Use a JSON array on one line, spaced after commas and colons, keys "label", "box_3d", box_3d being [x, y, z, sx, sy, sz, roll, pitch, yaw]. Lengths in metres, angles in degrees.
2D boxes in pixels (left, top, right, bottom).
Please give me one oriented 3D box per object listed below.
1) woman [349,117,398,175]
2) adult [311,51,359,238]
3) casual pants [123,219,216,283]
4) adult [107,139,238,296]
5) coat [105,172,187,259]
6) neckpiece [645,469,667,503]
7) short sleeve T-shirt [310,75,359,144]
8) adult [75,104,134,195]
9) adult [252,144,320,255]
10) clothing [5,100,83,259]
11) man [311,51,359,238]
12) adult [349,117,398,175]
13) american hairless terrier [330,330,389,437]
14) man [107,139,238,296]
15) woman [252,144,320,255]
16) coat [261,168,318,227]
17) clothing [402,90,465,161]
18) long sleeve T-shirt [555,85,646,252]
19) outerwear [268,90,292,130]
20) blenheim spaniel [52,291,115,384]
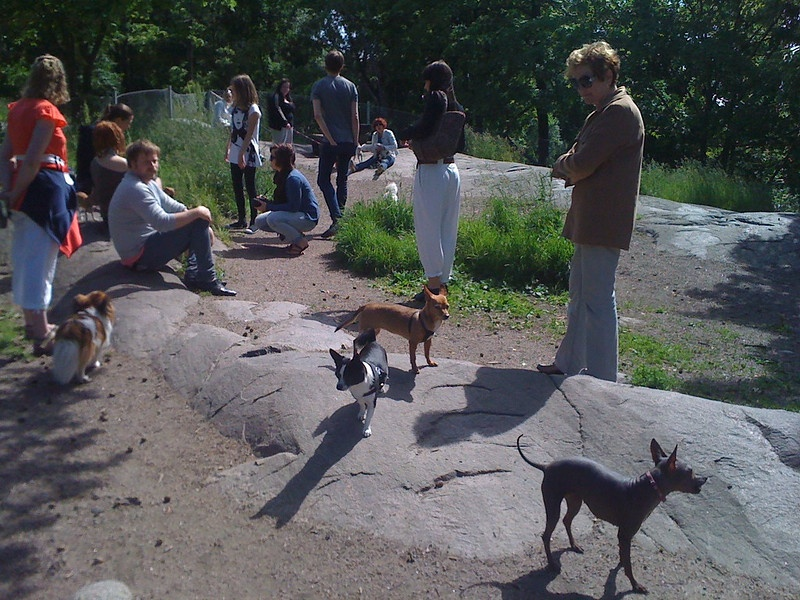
[{"label": "woman", "box_3d": [-0.588, -3.477, 15.710, 0.789, 1.244, 1.487, 3, 17, 20]}, {"label": "adult", "box_3d": [-1.012, -2.405, 10.794, 0.636, 2.690, 0.765, 1, 14, -4]}, {"label": "casual pants", "box_3d": [-2.656, -0.586, 8.323, 0.711, 0.565, 0.627, -1, 11, -26]}, {"label": "adult", "box_3d": [-2.707, -0.967, 8.329, 1.303, 1.791, 1.092, -1, 9, -18]}, {"label": "coat", "box_3d": [-2.881, -0.895, 7.887, 0.777, 1.037, 0.349, 6, 11, 16]}, {"label": "neckpiece", "box_3d": [1.764, 1.294, 4.826, 0.040, 0.177, 0.159, -32, 7, 12]}, {"label": "short sleeve T-shirt", "box_3d": [-0.985, -2.840, 10.482, 0.645, 0.997, 0.299, 1, 10, -10]}, {"label": "adult", "box_3d": [-3.951, -1.915, 9.383, 0.573, 1.422, 0.546, 15, 8, -3]}, {"label": "adult", "box_3d": [-1.700, -1.510, 10.595, 0.923, 1.612, 0.684, 2, 10, -5]}, {"label": "clothing", "box_3d": [-3.476, -1.173, 6.889, 0.612, 1.534, 0.521, -4, 12, -31]}, {"label": "man", "box_3d": [-1.021, -2.417, 10.815, 0.644, 2.706, 0.718, 1, 15, -6]}, {"label": "adult", "box_3d": [-0.563, -3.478, 15.692, 0.743, 1.215, 1.481, 1, 17, 19]}, {"label": "american hairless terrier", "box_3d": [-0.335, 0.707, 5.912, 0.408, 0.746, 0.775, 4, 10, 7]}, {"label": "man", "box_3d": [-2.677, -0.968, 8.318, 1.332, 1.783, 1.139, 0, 8, -11]}, {"label": "woman", "box_3d": [-1.700, -1.510, 10.599, 0.921, 1.612, 0.695, 2, 10, -3]}, {"label": "coat", "box_3d": [-1.694, -1.579, 10.787, 0.868, 0.956, 0.782, -5, 7, -37]}, {"label": "clothing", "box_3d": [0.402, -1.980, 7.961, 0.710, 0.828, 0.596, -1, 29, 8]}, {"label": "long sleeve T-shirt", "box_3d": [1.815, -0.863, 6.494, 0.615, 2.134, 0.748, 4, 2, -5]}, {"label": "outerwear", "box_3d": [-2.306, -3.648, 13.612, 0.434, 0.714, 0.726, 0, 11, -13]}, {"label": "blenheim spaniel", "box_3d": [-3.004, 0.364, 6.692, 0.335, 0.821, 0.593, 7, 11, 23]}]
